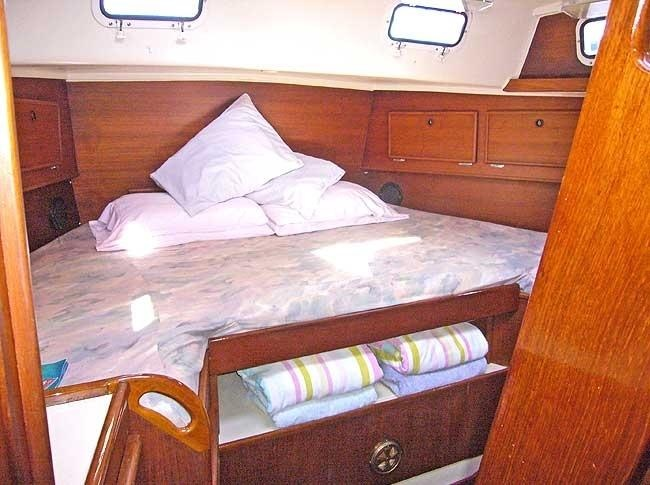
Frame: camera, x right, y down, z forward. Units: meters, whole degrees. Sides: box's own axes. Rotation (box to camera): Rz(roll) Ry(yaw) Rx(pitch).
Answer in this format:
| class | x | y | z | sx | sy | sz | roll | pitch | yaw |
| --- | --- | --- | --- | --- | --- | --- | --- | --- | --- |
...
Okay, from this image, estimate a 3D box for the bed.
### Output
| class | x | y | z | sx | sy | sz | roll | pitch | yaw |
| --- | --- | --- | --- | --- | --- | --- | --- | --- | --- |
| bed | -0.117 | 0.080 | 1.959 | 1.944 | 0.316 | 1.287 | -16 | 24 | -33 |
